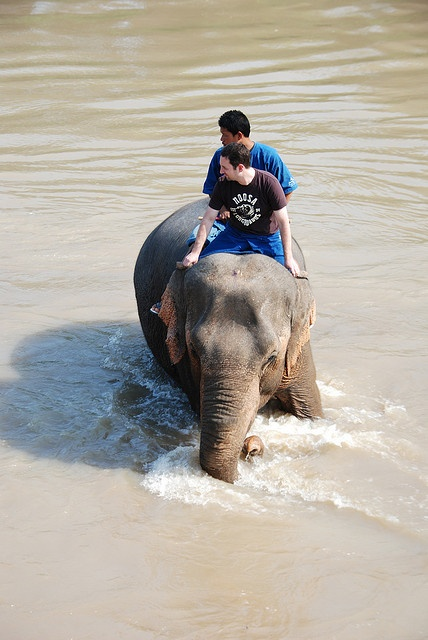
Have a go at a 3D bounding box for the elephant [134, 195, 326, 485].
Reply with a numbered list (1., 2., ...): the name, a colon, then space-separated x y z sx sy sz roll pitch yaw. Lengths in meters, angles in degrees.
1. elephant: 0.071 0.004 3.662 0.885 0.949 1.525 -4 21 -8
